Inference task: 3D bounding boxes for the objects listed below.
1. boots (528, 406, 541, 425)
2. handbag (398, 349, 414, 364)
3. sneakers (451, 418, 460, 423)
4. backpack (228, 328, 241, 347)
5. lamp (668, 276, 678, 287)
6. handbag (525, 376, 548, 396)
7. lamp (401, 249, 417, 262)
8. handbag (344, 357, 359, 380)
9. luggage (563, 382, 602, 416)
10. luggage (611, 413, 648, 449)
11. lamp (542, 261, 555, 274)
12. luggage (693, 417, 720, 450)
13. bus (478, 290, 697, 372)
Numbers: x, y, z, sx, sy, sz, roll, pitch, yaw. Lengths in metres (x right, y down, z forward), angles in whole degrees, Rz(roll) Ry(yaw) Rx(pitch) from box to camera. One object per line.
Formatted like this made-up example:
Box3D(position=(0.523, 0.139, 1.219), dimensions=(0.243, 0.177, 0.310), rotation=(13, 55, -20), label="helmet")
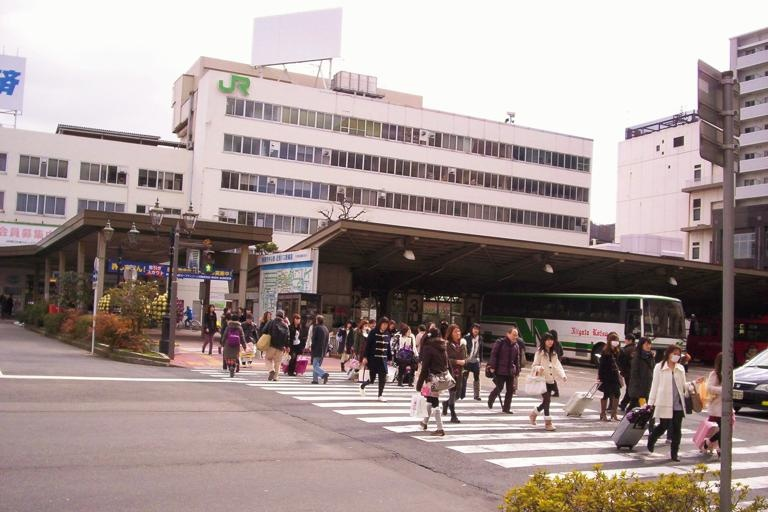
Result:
Box3D(position=(3.804, 4.061, 19.206), dimensions=(0.199, 0.409, 0.743), rotation=(-1, -13, 9), label="boots")
Box3D(position=(0.739, 3.330, 25.252), dimensions=(0.504, 0.489, 0.262), rotation=(1, -1, 7), label="handbag")
Box3D(position=(1.767, 4.077, 18.887), dimensions=(0.242, 0.165, 0.375), rotation=(0, -13, 6), label="sneakers")
Box3D(position=(-5.053, 2.790, 25.839), dimensions=(0.407, 0.527, 0.549), rotation=(2, 7, -6), label="backpack")
Box3D(position=(17.399, 1.470, 45.659), dimensions=(0.580, 0.623, 0.687), rotation=(4, -6, -30), label="lamp")
Box3D(position=(3.811, 3.205, 18.965), dimensions=(0.497, 0.438, 0.371), rotation=(-2, -12, 12), label="handbag")
Box3D(position=(1.347, -0.052, 38.112), dimensions=(0.546, 0.478, 0.506), rotation=(-1, 0, -5), label="lamp")
Box3D(position=(-1.161, 4.056, 27.325), dimensions=(0.412, 0.593, 0.784), rotation=(4, -39, 3), label="handbag")
Box3D(position=(5.365, 3.706, 20.460), dimensions=(0.461, 1.360, 0.471), rotation=(-6, 42, -36), label="luggage")
Box3D(position=(5.442, 3.802, 16.830), dimensions=(0.568, 0.549, 0.927), rotation=(0, -48, -17), label="luggage")
Box3D(position=(9.328, 0.667, 42.844), dimensions=(0.554, 0.381, 0.746), rotation=(-3, -12, 6), label="lamp")
Box3D(position=(7.089, 3.892, 16.659), dimensions=(0.533, 0.691, 0.614), rotation=(-4, -13, 23), label="luggage")
Box3D(position=(9.999, 3.653, 42.246), dimensions=(2.657, 3.321, 11.496), rotation=(-8, 3, -44), label="bus")
